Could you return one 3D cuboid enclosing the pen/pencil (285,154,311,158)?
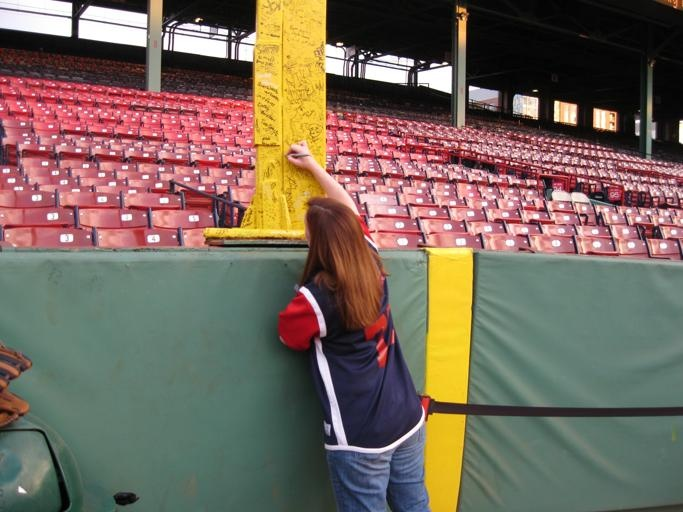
[{"bbox_3d":[-0.274,-0.640,4.151,0.168,0.022,0.021,4,-27,31],"label":"pen/pencil"}]
